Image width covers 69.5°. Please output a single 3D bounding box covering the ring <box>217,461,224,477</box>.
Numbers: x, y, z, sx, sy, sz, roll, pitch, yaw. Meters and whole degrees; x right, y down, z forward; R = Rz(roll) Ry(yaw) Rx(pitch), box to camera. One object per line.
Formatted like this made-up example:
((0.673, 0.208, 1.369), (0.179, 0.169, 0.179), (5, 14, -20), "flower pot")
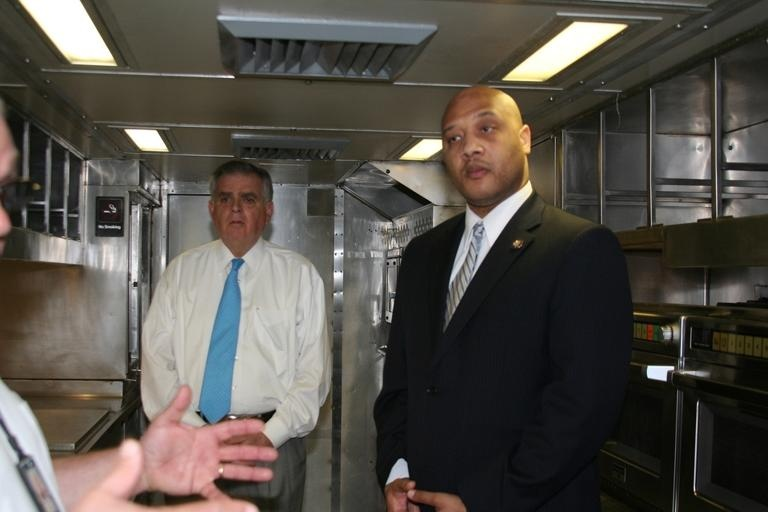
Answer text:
((-0.488, 0.647, 1.675), (0.011, 0.033, 0.028), (4, -7, 5), "ring")
